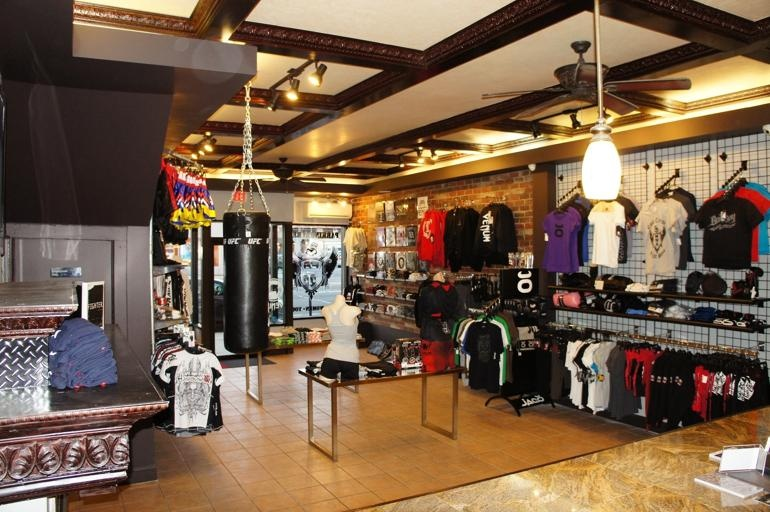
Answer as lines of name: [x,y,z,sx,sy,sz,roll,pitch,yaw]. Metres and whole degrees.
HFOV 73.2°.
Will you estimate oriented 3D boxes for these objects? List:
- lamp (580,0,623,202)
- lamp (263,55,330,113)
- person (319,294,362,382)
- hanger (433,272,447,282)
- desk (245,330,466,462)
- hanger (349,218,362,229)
lamp: [1.209,-0.880,2.884,0.185,1.102,0.293,2,5,40]
lamp: [-0.921,-1.788,5.324,0.145,0.224,0.649,7,-21,-36]
person: [-0.474,0.851,5.488,0.424,0.832,0.539,-1,4,-4]
hanger: [0.770,0.294,7.341,0.193,0.119,0.170,-5,-38,21]
desk: [-0.291,1.594,6.709,2.260,0.949,2.833,-2,3,-28]
hanger: [-0.655,-0.770,11.876,0.278,0.238,0.262,-5,-13,32]
